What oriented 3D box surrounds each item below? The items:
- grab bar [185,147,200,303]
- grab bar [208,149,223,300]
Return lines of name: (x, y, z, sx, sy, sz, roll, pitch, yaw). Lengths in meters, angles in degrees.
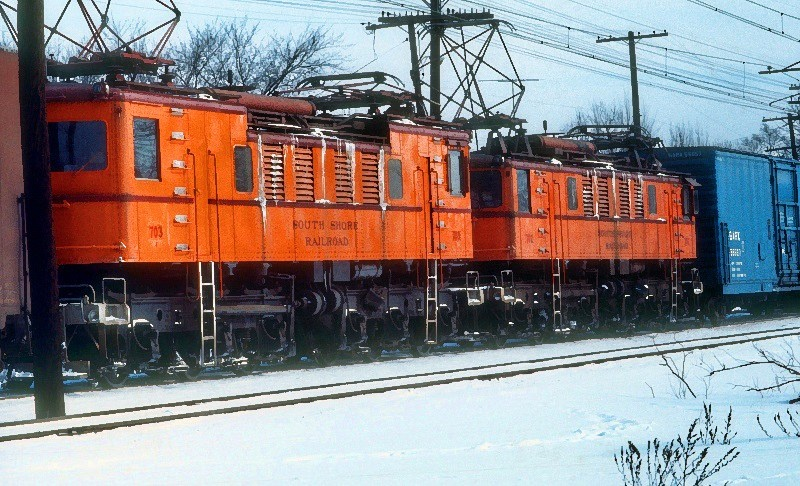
grab bar: (-4.510, -0.428, 16.542, 0.407, 3.345, 0.444, -1, -1, 16)
grab bar: (-4.193, -0.833, 16.752, 0.256, 2.429, 0.138, -1, -1, -26)
